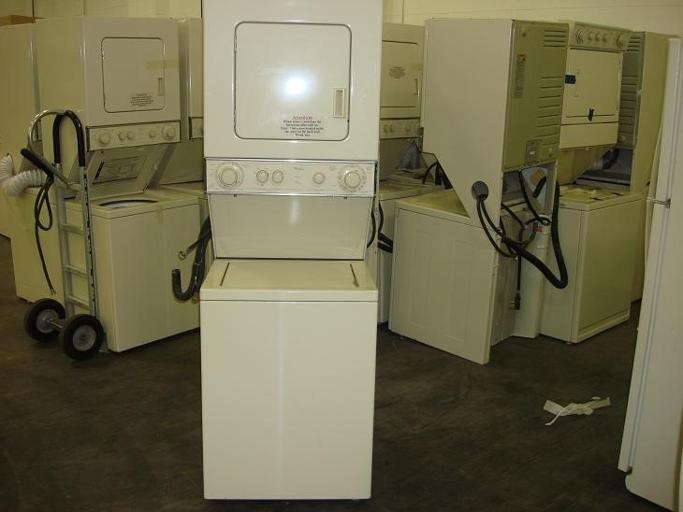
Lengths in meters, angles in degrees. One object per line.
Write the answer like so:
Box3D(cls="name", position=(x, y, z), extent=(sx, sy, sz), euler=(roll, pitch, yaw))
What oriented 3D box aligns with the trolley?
Box3D(cls="trolley", position=(-1.908, -0.145, 3.947), extent=(0.466, 1.586, 0.733), euler=(-16, 20, -42))
